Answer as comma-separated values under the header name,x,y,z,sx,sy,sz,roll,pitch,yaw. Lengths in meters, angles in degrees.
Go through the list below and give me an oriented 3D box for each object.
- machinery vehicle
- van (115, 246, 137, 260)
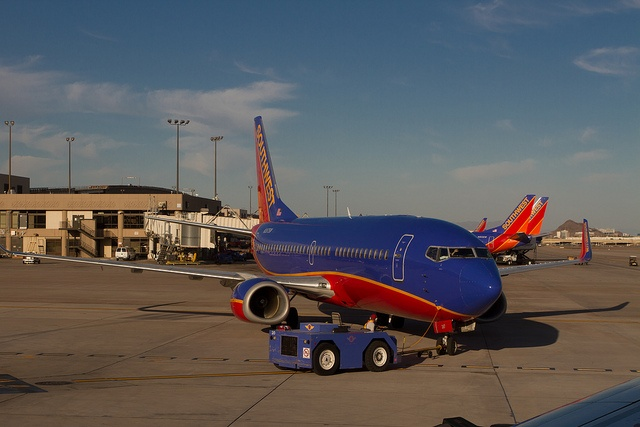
name,x,y,z,sx,sy,sz,roll,pitch,yaw
machinery vehicle,0.757,6.649,34.429,5.354,1.413,4.000,6,-10,-38
van,-28.026,5.802,100.976,1.823,1.086,2.995,2,4,8
